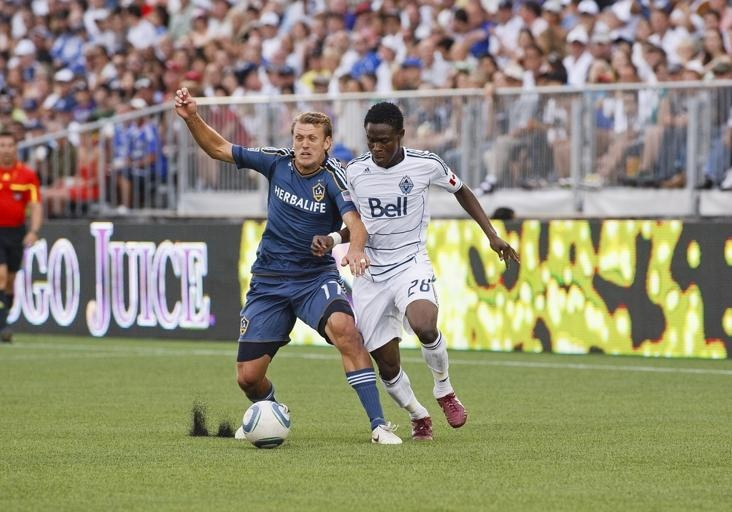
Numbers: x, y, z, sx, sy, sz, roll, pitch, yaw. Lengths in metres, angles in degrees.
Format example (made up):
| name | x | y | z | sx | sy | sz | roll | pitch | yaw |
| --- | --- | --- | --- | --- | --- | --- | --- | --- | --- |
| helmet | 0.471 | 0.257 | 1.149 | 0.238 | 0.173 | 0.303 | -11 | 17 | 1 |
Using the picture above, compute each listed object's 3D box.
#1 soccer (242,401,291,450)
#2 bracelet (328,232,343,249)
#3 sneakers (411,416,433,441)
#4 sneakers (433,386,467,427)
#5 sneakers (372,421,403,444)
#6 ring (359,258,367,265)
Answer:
| name | x | y | z | sx | sy | sz | roll | pitch | yaw |
| --- | --- | --- | --- | --- | --- | --- | --- | --- | --- |
| soccer | -0.914 | 1.545 | 12.682 | 0.397 | 0.412 | 0.401 | 6 | -13 | -22 |
| bracelet | -0.279 | -0.152 | 12.795 | 0.097 | 0.135 | 0.106 | -10 | 26 | -9 |
| sneakers | 0.515 | 1.569 | 13.007 | 0.194 | 0.203 | 0.308 | 1 | 9 | 3 |
| sneakers | 0.808 | 1.441 | 13.149 | 0.181 | 0.405 | 0.163 | -34 | -26 | 11 |
| sneakers | 0.187 | 1.606 | 12.761 | 0.286 | 0.176 | 0.281 | 0 | 9 | -3 |
| ring | -0.021 | 0.048 | 12.570 | 0.043 | 0.029 | 0.060 | -4 | 47 | -7 |
